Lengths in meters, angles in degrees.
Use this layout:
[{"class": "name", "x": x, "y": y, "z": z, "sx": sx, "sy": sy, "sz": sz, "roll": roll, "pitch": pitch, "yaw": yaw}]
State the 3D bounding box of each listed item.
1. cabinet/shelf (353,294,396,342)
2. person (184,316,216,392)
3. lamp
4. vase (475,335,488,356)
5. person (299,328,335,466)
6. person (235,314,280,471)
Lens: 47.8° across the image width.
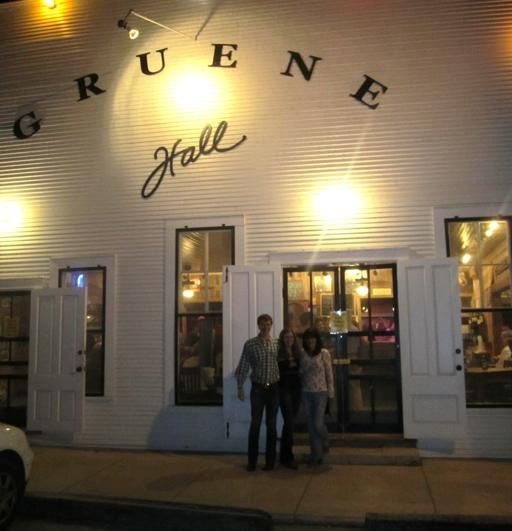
[{"class": "cabinet/shelf", "x": 1.716, "y": 0.825, "z": 8.195, "sx": 0.577, "sy": 0.630, "sz": 0.346, "roll": -2, "pitch": -22, "yaw": 12}, {"class": "person", "x": -0.855, "y": 1.355, "z": 8.852, "sx": 0.469, "sy": 1.073, "sz": 0.646, "roll": 0, "pitch": -7, "yaw": -4}, {"class": "lamp", "x": -1.493, "y": -3.647, "z": 8.919, "sx": 1.257, "sy": 0.468, "sz": 0.206, "roll": 12, "pitch": -52, "yaw": -10}, {"class": "vase", "x": 3.076, "y": 1.094, "z": 7.919, "sx": 0.147, "sy": 0.245, "sz": 0.060, "roll": -3, "pitch": -8, "yaw": 21}, {"class": "person", "x": 0.748, "y": 1.576, "z": 7.105, "sx": 0.398, "sy": 1.554, "sz": 0.200, "roll": -1, "pitch": -7, "yaw": 4}, {"class": "person", "x": 0.021, "y": 1.544, "z": 7.022, "sx": 0.525, "sy": 1.860, "sz": 0.334, "roll": 0, "pitch": -7, "yaw": -3}]
